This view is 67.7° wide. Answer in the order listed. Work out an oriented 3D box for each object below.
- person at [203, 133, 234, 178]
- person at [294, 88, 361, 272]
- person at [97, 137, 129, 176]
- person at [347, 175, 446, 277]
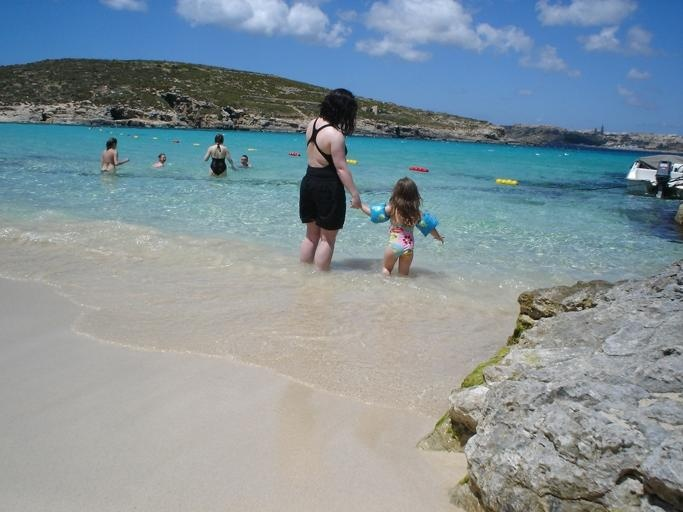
[{"bbox_3d":[-3.929,-3.241,16.347,0.723,1.323,1.943,2,13,-12],"label":"person"},{"bbox_3d":[-0.136,-0.893,6.289,0.816,2.241,0.409,10,16,16],"label":"person"},{"bbox_3d":[-7.074,-3.093,15.541,0.470,1.022,1.815,-2,14,-24],"label":"person"},{"bbox_3d":[0.812,-0.366,6.593,0.912,1.289,0.277,6,15,3],"label":"person"}]
